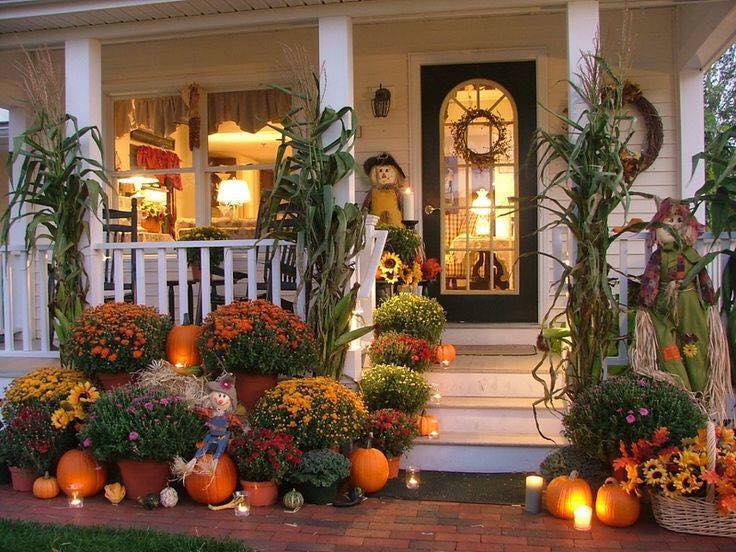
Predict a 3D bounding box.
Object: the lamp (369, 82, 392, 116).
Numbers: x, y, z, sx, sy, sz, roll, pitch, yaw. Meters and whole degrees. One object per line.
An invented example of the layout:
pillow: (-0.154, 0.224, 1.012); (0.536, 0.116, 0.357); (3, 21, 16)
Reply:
lamp: (0.129, -1.747, 6.507); (0.206, 0.341, 0.125); (0, 5, -1)

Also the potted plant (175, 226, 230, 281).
potted plant: (-1.440, -0.185, 5.754); (0.411, 0.495, 0.414); (-7, -8, 34)

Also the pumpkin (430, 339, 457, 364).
pumpkin: (0.591, 0.584, 5.149); (0.164, 0.166, 0.170); (-1, -7, -18)

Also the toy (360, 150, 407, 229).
toy: (0.160, -0.857, 6.327); (0.418, 0.711, 0.542); (0, 5, 1)

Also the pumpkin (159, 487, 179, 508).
pumpkin: (-1.175, 1.310, 3.971); (0.098, 0.127, 0.108); (4, 9, 15)

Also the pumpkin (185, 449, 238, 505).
pumpkin: (-0.910, 1.202, 3.935); (0.288, 0.307, 0.281); (0, -2, 0)

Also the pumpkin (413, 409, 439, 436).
pumpkin: (0.404, 1.005, 4.584); (0.156, 0.165, 0.163); (-5, -3, 25)

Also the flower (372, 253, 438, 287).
flower: (0.297, -0.047, 5.540); (0.349, 0.218, 0.343); (2, -21, -23)

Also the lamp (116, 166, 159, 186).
lamp: (-2.567, -1.115, 7.432); (0.270, 0.133, 0.273); (0, -1, -31)

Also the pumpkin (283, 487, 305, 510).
pumpkin: (-0.439, 1.322, 3.936); (0.099, 0.109, 0.102); (6, 8, 40)

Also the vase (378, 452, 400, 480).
vase: (0.157, 1.267, 4.397); (0.130, 0.108, 0.137); (-1, -8, 5)

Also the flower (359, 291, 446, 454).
flower: (0.243, 0.653, 4.692); (0.469, 1.175, 0.481); (12, -8, -26)

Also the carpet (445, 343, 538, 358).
carpet: (1.104, 0.637, 5.804); (0.707, 0.072, 0.658); (1, 6, 10)

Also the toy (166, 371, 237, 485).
toy: (-1.013, 0.995, 4.052); (0.352, 0.691, 0.257); (15, -31, -14)

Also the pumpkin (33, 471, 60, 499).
pumpkin: (-1.994, 1.307, 4.146); (0.134, 0.144, 0.142); (6, 7, 5)

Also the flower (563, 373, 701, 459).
flower: (1.480, 0.775, 3.830); (0.535, 0.342, 0.542); (-14, 5, -31)

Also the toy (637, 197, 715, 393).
toy: (1.940, 0.119, 4.148); (0.474, 1.212, 0.401); (1, 5, 10)

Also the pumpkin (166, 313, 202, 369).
pumpkin: (-1.277, 0.481, 4.599); (0.270, 0.349, 0.268); (14, 16, 32)

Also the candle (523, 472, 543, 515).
candle: (0.967, 1.272, 3.871); (0.092, 0.201, 0.084); (1, 5, 11)

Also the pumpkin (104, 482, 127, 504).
pumpkin: (-1.531, 1.293, 3.988); (0.100, 0.134, 0.051); (-10, 5, 6)

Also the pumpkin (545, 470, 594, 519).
pumpkin: (1.182, 1.276, 3.866); (0.252, 0.286, 0.275); (-3, -4, 26)

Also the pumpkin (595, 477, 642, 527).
pumpkin: (1.414, 1.279, 3.760); (0.234, 0.274, 0.250); (-4, -10, 17)

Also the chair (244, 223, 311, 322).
chair: (-0.666, -0.125, 5.188); (0.413, 0.795, 0.473); (7, -18, -6)

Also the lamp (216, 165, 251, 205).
lamp: (-1.461, -0.974, 7.183); (0.322, 0.343, 0.340); (-1, 11, -4)

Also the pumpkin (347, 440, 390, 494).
pumpkin: (0.001, 1.172, 4.227); (0.243, 0.376, 0.273); (2, 0, -6)
